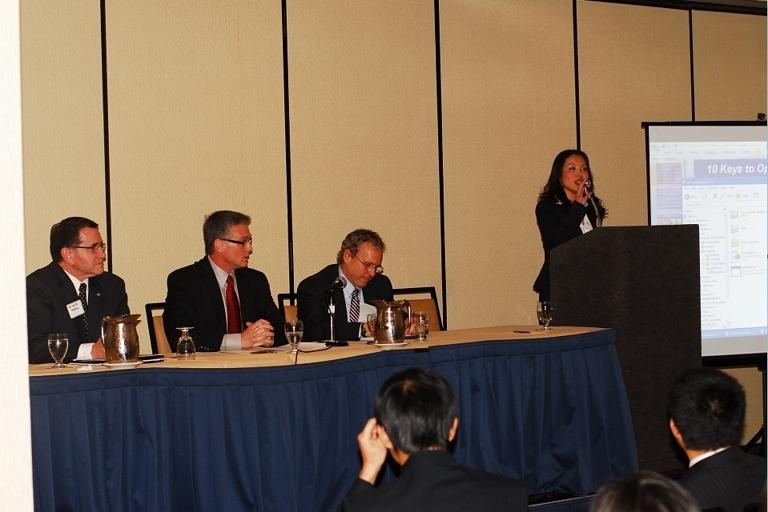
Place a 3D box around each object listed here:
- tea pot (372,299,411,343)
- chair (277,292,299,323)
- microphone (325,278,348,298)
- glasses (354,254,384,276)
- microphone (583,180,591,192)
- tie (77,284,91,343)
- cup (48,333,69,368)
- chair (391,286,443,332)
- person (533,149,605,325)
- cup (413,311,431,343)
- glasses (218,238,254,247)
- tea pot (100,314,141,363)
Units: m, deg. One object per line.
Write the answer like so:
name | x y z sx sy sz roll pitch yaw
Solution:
tea pot | 0.060 0.397 4.916 0.223 0.234 0.173 3 -6 -21
chair | -0.682 0.372 5.930 0.169 0.332 0.182 0 -4 -5
microphone | -0.258 0.184 4.966 0.075 0.082 0.248 -27 -3 12
glasses | -0.112 0.079 5.535 0.124 0.042 0.130 10 21 -40
microphone | 1.401 -0.478 5.717 0.040 0.041 0.142 -14 -30 0
tie | -1.859 0.340 5.162 0.050 0.400 0.056 -3 -5 6
cup | -1.721 0.499 4.412 0.089 0.169 0.172 -3 0 -20
chair | 0.228 0.371 5.800 0.249 0.493 0.252 -9 -16 32
person | 1.280 -0.226 5.798 0.520 1.187 0.993 -3 0 12
cup | 0.221 0.428 4.952 0.127 0.229 0.138 -1 -1 0
glasses | -0.965 -0.094 5.406 0.191 0.047 0.067 -4 0 -27
tea pot | -1.376 0.440 4.362 0.236 0.261 0.172 -1 -2 -4
